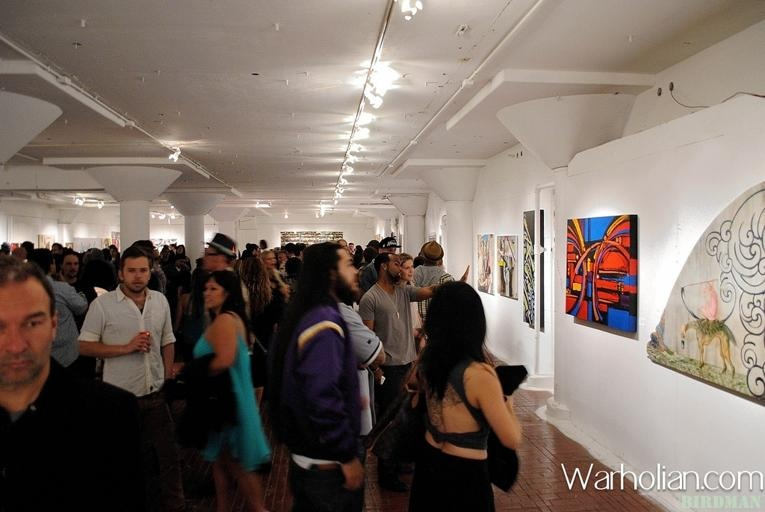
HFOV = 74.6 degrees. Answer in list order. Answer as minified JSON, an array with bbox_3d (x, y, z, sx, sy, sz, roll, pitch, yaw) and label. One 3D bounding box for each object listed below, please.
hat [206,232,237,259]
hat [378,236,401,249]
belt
[{"bbox_3d":[-1.564,-0.061,5.006,0.243,0.120,0.299,26,-4,8],"label":"hat"},{"bbox_3d":[0.112,-0.171,6.668,0.262,0.165,0.196,-1,4,-8],"label":"hat"},{"bbox_3d":[0.064,1.110,3.686,0.338,0.764,0.264,-1,10,-26],"label":"belt"}]
